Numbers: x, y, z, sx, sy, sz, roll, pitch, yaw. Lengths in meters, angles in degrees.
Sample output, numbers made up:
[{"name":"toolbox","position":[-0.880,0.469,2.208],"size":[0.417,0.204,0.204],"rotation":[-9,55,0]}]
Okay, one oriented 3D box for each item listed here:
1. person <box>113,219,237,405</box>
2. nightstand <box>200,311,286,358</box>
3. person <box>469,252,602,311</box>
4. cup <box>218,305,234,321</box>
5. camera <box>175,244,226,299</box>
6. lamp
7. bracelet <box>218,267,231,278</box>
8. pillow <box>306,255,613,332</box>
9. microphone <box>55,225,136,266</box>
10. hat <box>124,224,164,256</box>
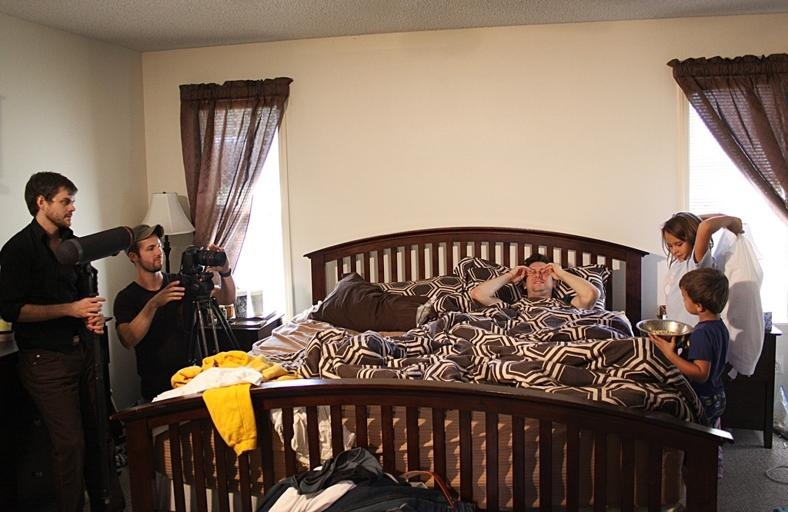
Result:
[{"name":"person","position":[-1.487,0.446,4.142],"size":[0.794,1.195,0.715],"rotation":[-14,24,-35]},{"name":"nightstand","position":[-1.197,0.602,4.547],"size":[0.519,0.440,0.379],"rotation":[7,-6,-37]},{"name":"person","position":[0.984,0.159,4.164],"size":[0.795,0.307,0.255],"rotation":[-2,-5,15]},{"name":"cup","position":[-1.251,0.417,4.512],"size":[0.103,0.123,0.183],"rotation":[-2,4,5]},{"name":"camera","position":[-1.357,0.107,4.232],"size":[0.466,0.397,0.347],"rotation":[-6,9,-12]},{"name":"lamp","position":[-1.746,-0.106,4.628],"size":[0.406,0.695,0.403],"rotation":[-1,6,23]},{"name":"bracelet","position":[-1.262,0.117,4.485],"size":[0.070,0.036,0.060],"rotation":[-8,11,-24]},{"name":"pillow","position":[0.322,0.244,4.198],"size":[1.652,0.236,0.600],"rotation":[-6,26,18]},{"name":"microphone","position":[-1.616,-0.066,3.288],"size":[0.149,0.152,0.461],"rotation":[5,15,22]},{"name":"hat","position":[-1.651,-0.081,3.943],"size":[0.268,0.083,0.179],"rotation":[-29,-10,5]}]
